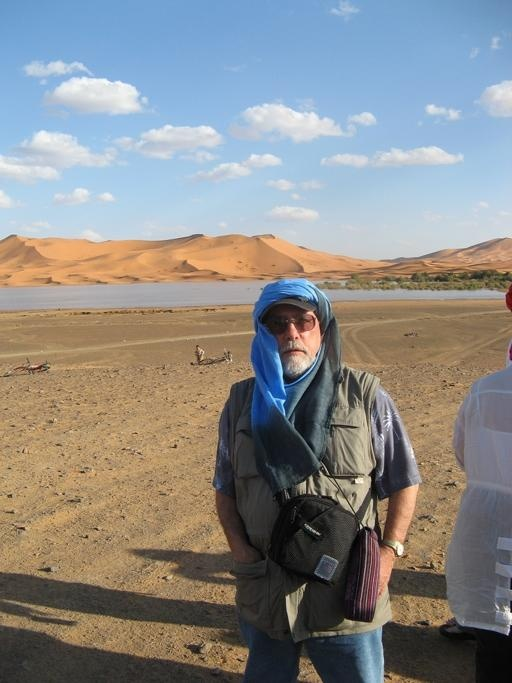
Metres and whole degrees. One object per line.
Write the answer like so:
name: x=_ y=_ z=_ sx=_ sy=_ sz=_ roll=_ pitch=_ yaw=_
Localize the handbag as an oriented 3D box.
handbag: x=0.178 y=0.606 z=1.778 sx=0.284 sy=0.287 sz=0.223 roll=19 pitch=-9 yaw=5
